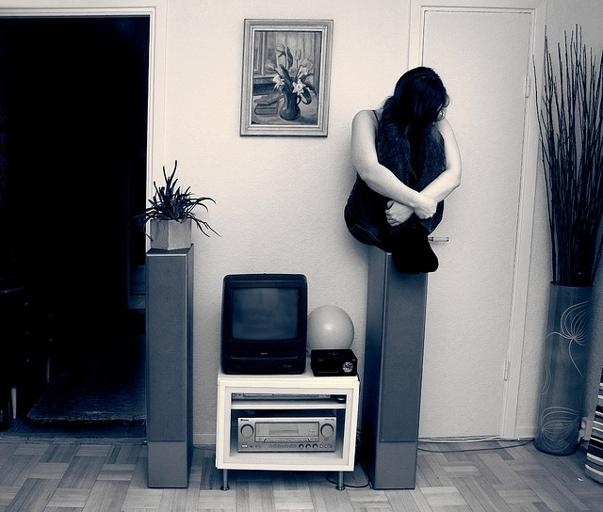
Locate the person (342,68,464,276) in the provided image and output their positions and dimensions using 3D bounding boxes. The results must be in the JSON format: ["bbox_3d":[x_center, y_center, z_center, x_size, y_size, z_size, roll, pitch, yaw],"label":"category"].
[{"bbox_3d":[0.496,-0.427,2.821,0.566,0.977,0.387,1,9,4],"label":"person"}]

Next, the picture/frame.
[{"bbox_3d":[-0.097,-0.979,3.062,0.538,0.765,0.048,1,9,-2],"label":"picture/frame"}]

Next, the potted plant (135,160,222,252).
[{"bbox_3d":[-0.652,-0.229,2.929,0.458,0.444,0.454,-3,-1,38],"label":"potted plant"}]

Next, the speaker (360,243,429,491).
[{"bbox_3d":[0.462,0.561,2.990,0.271,1.204,0.371,0,8,-1],"label":"speaker"}]

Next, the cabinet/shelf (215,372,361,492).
[{"bbox_3d":[-0.080,0.728,3.051,0.730,0.629,0.553,0,0,1],"label":"cabinet/shelf"}]
